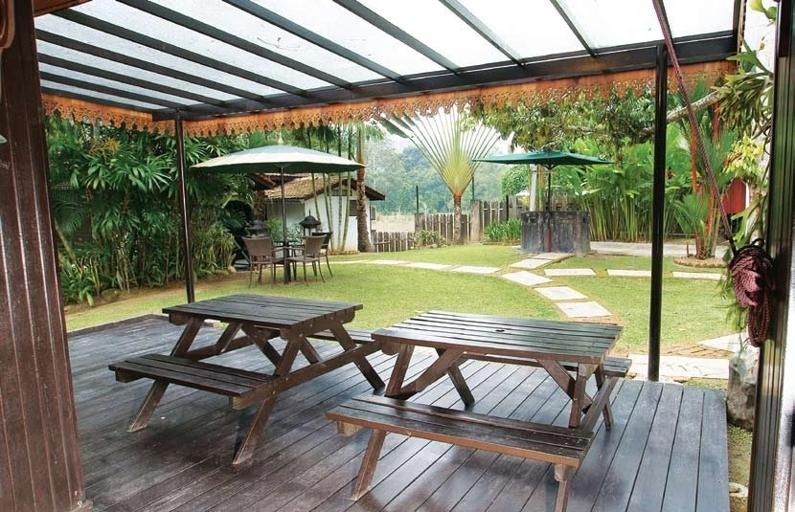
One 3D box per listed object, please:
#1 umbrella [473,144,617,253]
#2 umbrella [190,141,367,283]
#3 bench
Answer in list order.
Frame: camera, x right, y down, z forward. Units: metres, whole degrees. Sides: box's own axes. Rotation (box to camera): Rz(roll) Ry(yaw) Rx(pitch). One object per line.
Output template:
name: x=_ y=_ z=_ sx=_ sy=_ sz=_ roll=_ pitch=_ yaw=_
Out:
umbrella: x=3.929 y=-1.653 z=13.307 sx=2.845 sy=2.194 sz=2.589 roll=-1 pitch=3 yaw=-6
umbrella: x=-2.322 y=-1.074 z=10.071 sx=1.894 sy=2.297 sz=2.498 roll=9 pitch=15 yaw=44
bench: x=-0.238 y=0.998 z=4.120 sx=3.777 sy=0.987 sz=1.701 roll=3 pitch=11 yaw=23
